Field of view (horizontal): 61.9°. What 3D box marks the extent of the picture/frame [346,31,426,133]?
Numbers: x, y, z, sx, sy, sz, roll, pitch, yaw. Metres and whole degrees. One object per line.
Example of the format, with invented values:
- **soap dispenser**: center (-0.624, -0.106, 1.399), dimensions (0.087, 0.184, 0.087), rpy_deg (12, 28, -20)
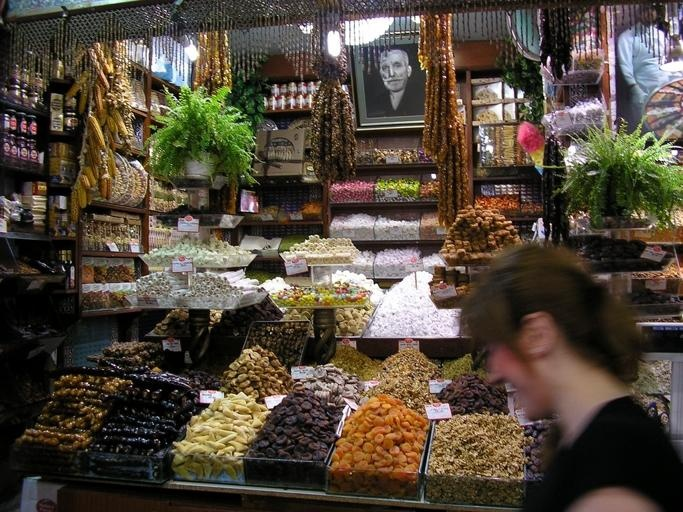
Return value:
- **picture/frame**: center (0.576, -1.988, 6.358), dimensions (1.004, 0.919, 0.016), rpy_deg (7, 22, 37)
